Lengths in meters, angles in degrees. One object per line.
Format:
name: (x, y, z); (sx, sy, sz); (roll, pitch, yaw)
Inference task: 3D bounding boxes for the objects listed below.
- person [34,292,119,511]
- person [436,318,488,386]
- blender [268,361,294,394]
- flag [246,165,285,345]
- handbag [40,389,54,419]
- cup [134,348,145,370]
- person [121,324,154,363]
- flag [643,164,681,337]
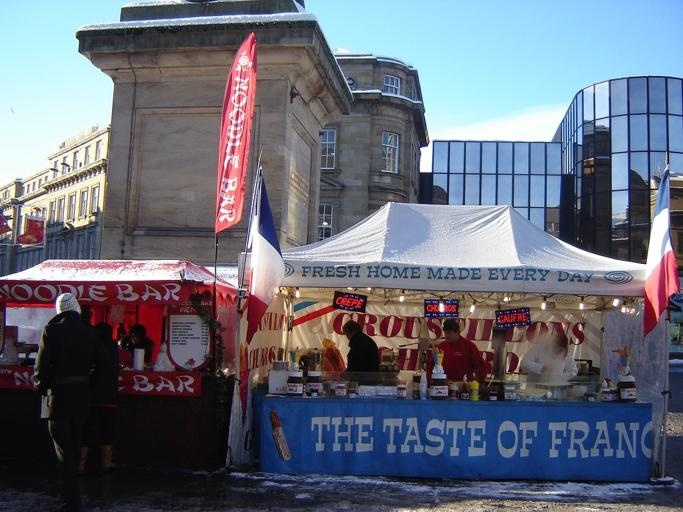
person: (-4.196, 2.213, 14.648); (1.033, 3.276, 0.781); (4, -8, -30)
person: (2.095, 1.833, 17.458); (1.107, 1.344, 0.623); (5, 24, 27)
blender: (-1.037, 2.094, 16.524); (0.453, 0.556, 0.464); (1, 6, 14)
flag: (-1.364, -0.051, 16.000); (0.470, 3.032, 0.702); (-3, -8, 26)
handbag: (-4.507, 2.262, 14.486); (0.158, 0.423, 0.208); (3, -8, -26)
cup: (-3.520, 1.797, 16.476); (0.176, 0.373, 0.365); (2, -7, -15)
person: (-3.746, 1.619, 17.557); (0.644, 0.749, 0.464); (-4, -8, 29)
flag: (5.426, -0.149, 16.282); (0.592, 3.008, 1.324); (-2, -7, 19)
